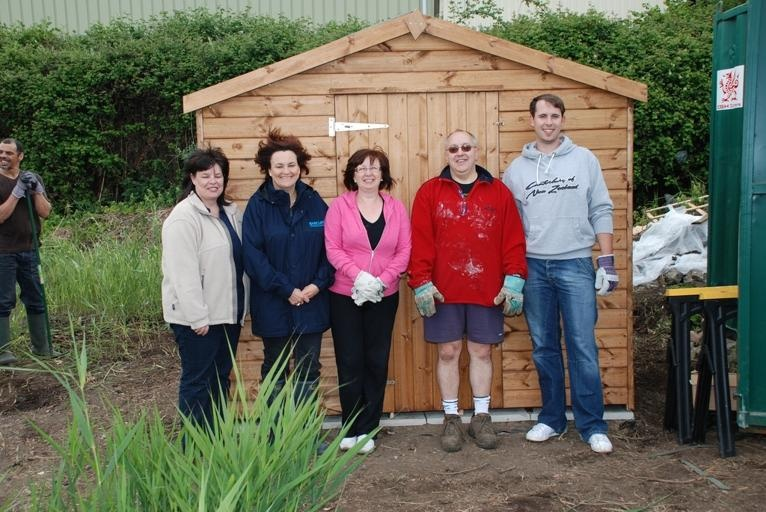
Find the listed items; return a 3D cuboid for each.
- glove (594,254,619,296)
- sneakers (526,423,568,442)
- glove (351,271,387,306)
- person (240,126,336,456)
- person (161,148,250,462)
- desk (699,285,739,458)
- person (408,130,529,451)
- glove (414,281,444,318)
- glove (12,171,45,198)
[{"bbox_3d":[2.154,0.186,6.489,0.193,0.397,0.176,-1,4,21],"label":"glove"},{"bbox_3d":[1.629,1.749,6.740,0.443,0.172,0.150,1,3,-24],"label":"sneakers"},{"bbox_3d":[-0.123,0.280,6.256,0.310,0.305,0.132,32,22,5],"label":"glove"},{"bbox_3d":[-0.876,0.065,6.286,0.826,2.491,0.513,-2,4,-4],"label":"person"},{"bbox_3d":[-1.609,0.310,6.115,0.743,2.590,0.453,-4,4,-20],"label":"person"},{"bbox_3d":[3.178,1.080,6.368,0.334,1.568,0.370,-6,5,-42],"label":"desk"},{"bbox_3d":[0.822,0.342,6.477,1.103,3.065,0.431,-2,4,11],"label":"person"},{"bbox_3d":[0.446,0.420,6.417,0.240,0.351,0.174,-6,5,-44],"label":"glove"},{"bbox_3d":[-4.236,-0.851,8.038,0.355,0.163,0.264,0,11,36],"label":"glove"}]
